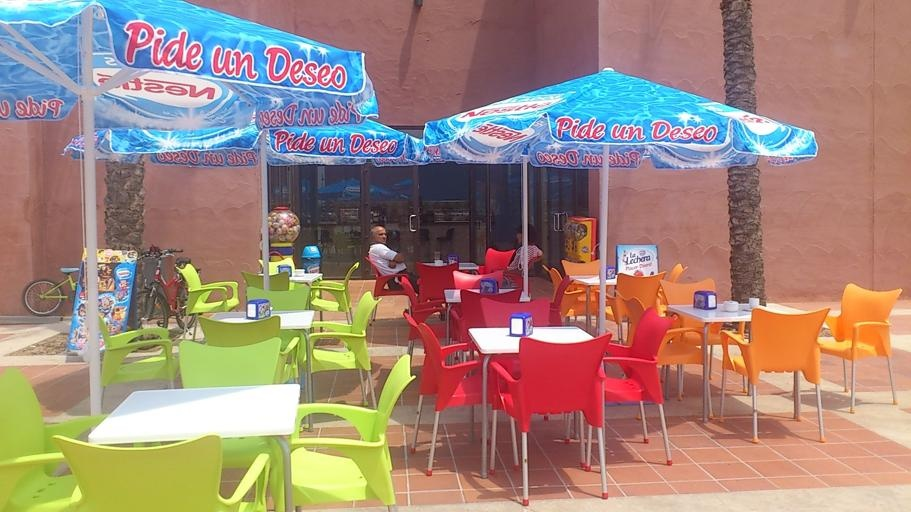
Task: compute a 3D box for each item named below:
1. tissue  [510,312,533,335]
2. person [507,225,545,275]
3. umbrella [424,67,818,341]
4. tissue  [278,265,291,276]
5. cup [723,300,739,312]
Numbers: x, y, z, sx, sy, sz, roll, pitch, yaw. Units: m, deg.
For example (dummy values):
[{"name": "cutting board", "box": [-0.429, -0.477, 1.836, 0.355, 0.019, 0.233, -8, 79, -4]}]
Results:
[{"name": "tissue ", "box": [0.811, 0.845, 9.074, 0.300, 0.252, 0.274, 0, -10, 6]}, {"name": "person", "box": [1.356, -0.132, 14.300, 0.703, 0.908, 0.684, 8, 15, 16]}, {"name": "umbrella", "box": [2.137, -0.948, 9.334, 5.052, 2.669, 4.526, 0, -1, -2]}, {"name": "tissue ", "box": [-3.024, 0.236, 13.096, 0.316, 0.233, 0.287, 0, -3, -8]}, {"name": "cup", "box": [3.783, 0.692, 10.091, 0.177, 0.102, 0.160, 0, 5, 4]}]
